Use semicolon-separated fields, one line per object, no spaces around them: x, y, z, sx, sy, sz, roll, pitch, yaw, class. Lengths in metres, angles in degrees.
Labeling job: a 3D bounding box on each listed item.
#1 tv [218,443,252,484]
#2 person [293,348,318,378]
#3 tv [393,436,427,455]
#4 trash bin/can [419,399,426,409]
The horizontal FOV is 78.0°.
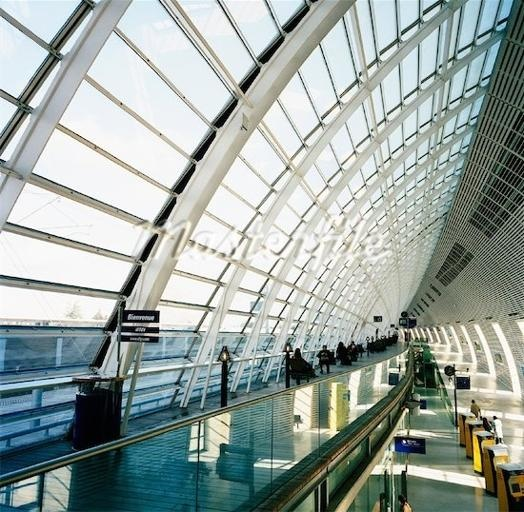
-0.324;2.610;4.094;0.064;0.496;0.890;-14;-28;20;tv
1.872;5.219;15.338;0.864;1.222;1.231;-6;-18;33;person
6.503;8.374;14.424;1.263;0.731;0.839;-15;-29;22;tv
12.455;11.498;25.303;0.448;0.651;4.104;-14;-28;19;trash bin/can
